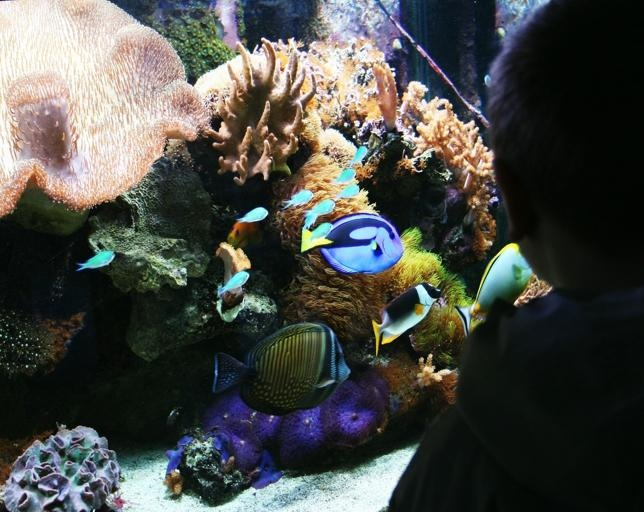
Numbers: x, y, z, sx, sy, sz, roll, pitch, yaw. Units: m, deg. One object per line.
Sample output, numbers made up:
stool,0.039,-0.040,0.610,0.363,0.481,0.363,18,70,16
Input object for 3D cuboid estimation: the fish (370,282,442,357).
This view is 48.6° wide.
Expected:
fish,0.599,0.452,5.227,0.676,0.323,0.176,-34,30,-13

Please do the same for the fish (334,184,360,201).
fish,0.171,-0.476,5.278,0.144,0.074,0.047,-24,59,21

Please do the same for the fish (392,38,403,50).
fish,0.797,-2.256,7.585,0.113,0.119,0.171,2,82,0

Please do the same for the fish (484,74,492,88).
fish,0.715,-0.756,3.066,0.022,0.045,0.045,-7,44,4

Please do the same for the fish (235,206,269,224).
fish,-0.519,-0.294,5.124,0.169,0.057,0.095,-12,49,2

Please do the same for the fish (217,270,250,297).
fish,-0.588,0.171,4.884,0.127,0.139,0.279,19,35,29

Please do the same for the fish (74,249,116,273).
fish,-1.498,0.029,4.666,0.210,0.120,0.059,-20,12,4

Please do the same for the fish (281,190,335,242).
fish,-0.102,-0.303,4.979,0.348,0.175,0.359,40,76,5
